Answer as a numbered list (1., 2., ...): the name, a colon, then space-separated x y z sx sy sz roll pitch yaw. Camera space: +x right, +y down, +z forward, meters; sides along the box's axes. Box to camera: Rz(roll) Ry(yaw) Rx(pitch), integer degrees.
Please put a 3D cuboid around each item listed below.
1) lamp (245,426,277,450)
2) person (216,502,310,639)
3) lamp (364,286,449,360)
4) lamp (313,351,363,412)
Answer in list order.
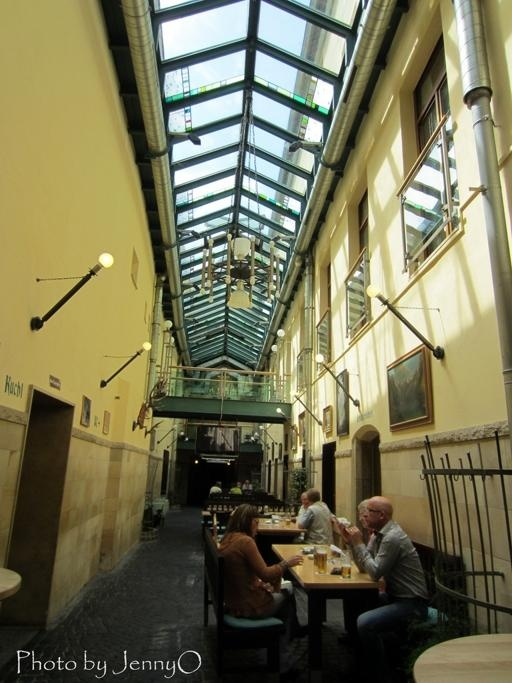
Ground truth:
1. lamp: 0.226 4.889 23.054 1.104 1.227 5.171 4 -15 -9
2. person: 0.070 1.833 3.371 0.580 1.130 0.483 5 -24 -28
3. lamp: 1.730 -0.204 5.354 0.750 1.133 1.399 -1 -15 11
4. lamp: 1.678 0.747 8.865 0.747 1.405 2.677 -1 -15 11
